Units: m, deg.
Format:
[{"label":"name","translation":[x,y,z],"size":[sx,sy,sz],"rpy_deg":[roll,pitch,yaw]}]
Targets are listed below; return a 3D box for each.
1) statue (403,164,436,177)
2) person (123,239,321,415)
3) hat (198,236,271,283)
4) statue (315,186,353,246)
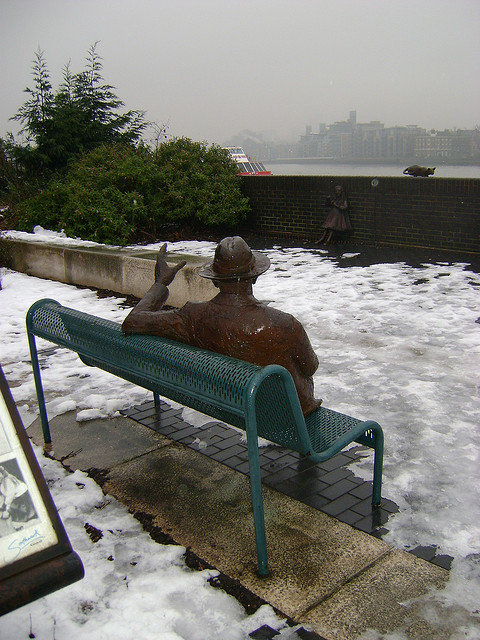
[{"label":"statue","translation":[4.358,-3.599,12.890],"size":[0.656,0.305,0.921],"rpy_deg":[-1,13,8]},{"label":"person","translation":[-0.100,0.047,2.857],"size":[0.862,0.962,0.574],"rpy_deg":[9,18,42]},{"label":"hat","translation":[-0.033,-0.319,2.676],"size":[0.370,0.154,0.374],"rpy_deg":[-5,25,7]},{"label":"statue","translation":[2.379,-2.636,13.502],"size":[0.664,1.451,0.808],"rpy_deg":[-13,17,-38]}]
